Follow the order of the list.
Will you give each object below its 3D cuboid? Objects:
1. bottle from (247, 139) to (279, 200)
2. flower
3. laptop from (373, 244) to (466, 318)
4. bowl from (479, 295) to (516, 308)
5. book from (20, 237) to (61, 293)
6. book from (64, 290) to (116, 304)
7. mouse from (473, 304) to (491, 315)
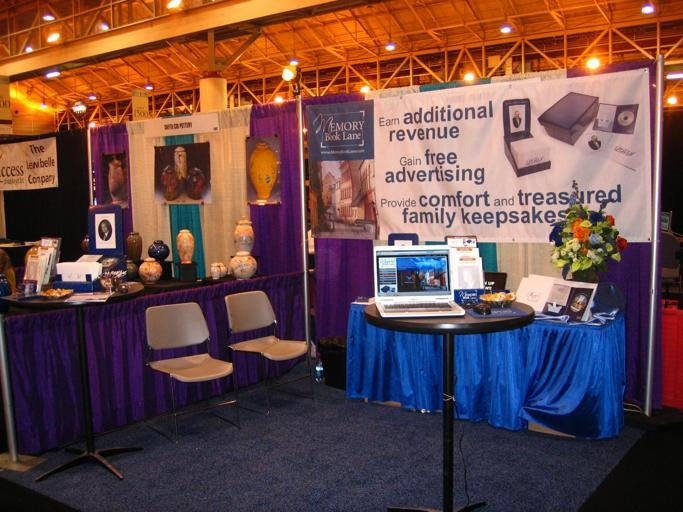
[{"bbox_3d":[-0.873,-0.955,6.623,0.372,0.712,0.169,-2,12,-5],"label":"bottle"},{"bbox_3d":[2.030,-0.162,4.893,0.554,0.811,0.638,6,14,30],"label":"flower"},{"bbox_3d":[0.489,0.067,3.946,0.485,0.409,0.448,-1,8,-3],"label":"laptop"},{"bbox_3d":[1.060,0.309,4.003,0.231,0.081,0.162,-1,14,1],"label":"bowl"},{"bbox_3d":[-2.327,0.085,4.616,0.264,0.432,0.128,-1,-7,10],"label":"book"},{"bbox_3d":[-1.843,0.308,4.356,0.314,0.036,0.283,-3,14,-5],"label":"book"},{"bbox_3d":[0.905,0.344,3.826,0.096,0.044,0.151,-2,14,-2],"label":"mouse"}]
